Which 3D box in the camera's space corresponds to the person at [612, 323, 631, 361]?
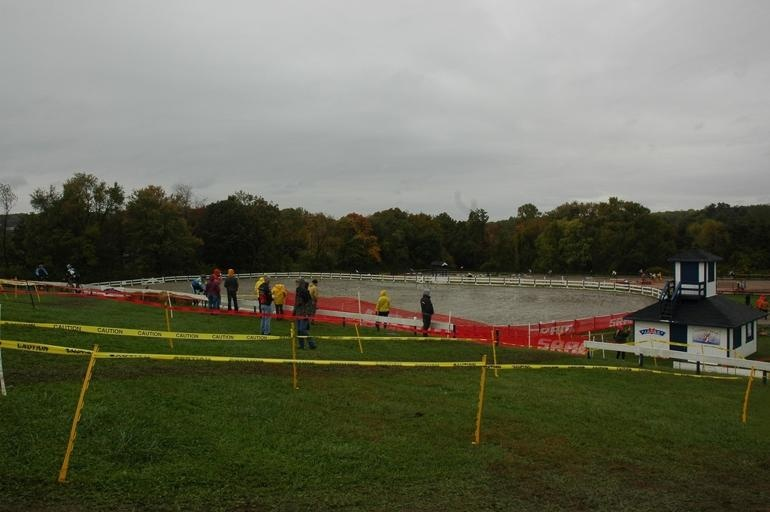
[{"bbox_3d":[10.963,4.026,40.833,0.744,2.030,0.813,-13,18,-41],"label":"person"}]
